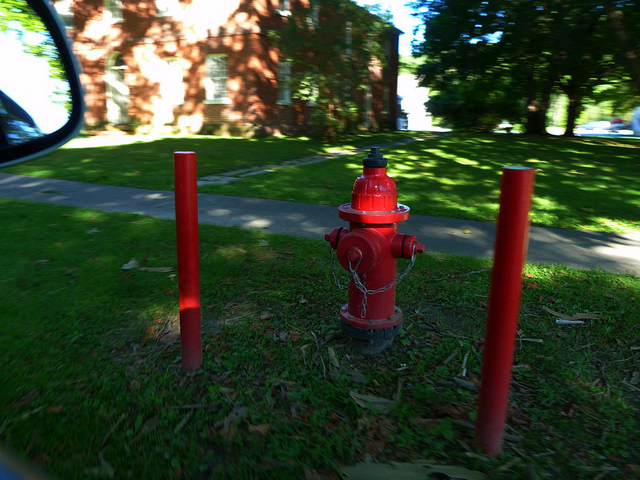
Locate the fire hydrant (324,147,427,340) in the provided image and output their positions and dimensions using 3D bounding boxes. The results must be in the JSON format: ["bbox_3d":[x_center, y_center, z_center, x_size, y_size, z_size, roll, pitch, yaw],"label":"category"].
[{"bbox_3d":[0.379,0.074,3.002,0.581,1.419,0.454,-10,21,-17],"label":"fire hydrant"}]
